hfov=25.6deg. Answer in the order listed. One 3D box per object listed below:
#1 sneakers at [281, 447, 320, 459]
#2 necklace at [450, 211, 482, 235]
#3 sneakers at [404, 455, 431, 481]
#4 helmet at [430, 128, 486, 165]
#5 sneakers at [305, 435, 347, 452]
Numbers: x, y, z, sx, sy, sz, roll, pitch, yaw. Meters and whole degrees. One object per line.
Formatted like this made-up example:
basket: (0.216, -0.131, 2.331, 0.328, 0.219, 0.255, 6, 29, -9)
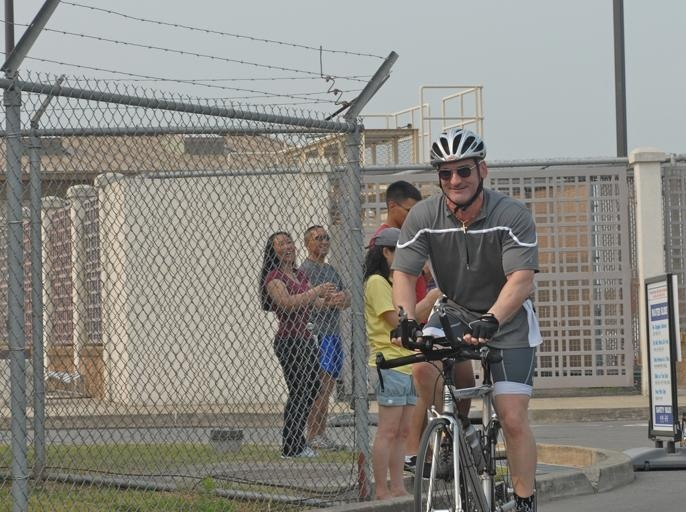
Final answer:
sneakers: (-0.451, 2.005, 15.465, 0.375, 0.183, 0.136, -4, 0, -6)
necklace: (1.017, -0.294, 13.097, 0.147, 0.198, 0.096, 0, 2, 12)
sneakers: (0.686, 2.007, 14.666, 0.152, 0.213, 0.454, 3, 0, -32)
helmet: (0.973, -0.951, 13.126, 0.467, 0.269, 0.389, -1, -1, 17)
sneakers: (-0.217, 1.988, 16.008, 0.478, 0.232, 0.191, 0, -3, -2)
